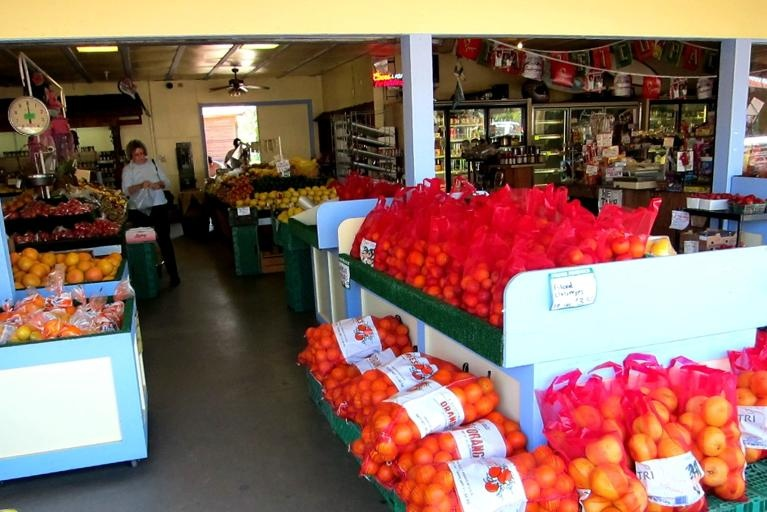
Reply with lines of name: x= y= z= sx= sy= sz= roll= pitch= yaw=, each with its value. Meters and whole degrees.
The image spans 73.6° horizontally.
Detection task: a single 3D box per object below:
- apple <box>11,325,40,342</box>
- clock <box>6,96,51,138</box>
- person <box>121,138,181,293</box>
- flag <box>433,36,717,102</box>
apple: x=-2.252 y=0.486 z=3.246 sx=0.147 sy=0.084 sz=0.102 roll=-12 pitch=16 yaw=-30
clock: x=-4.041 y=-1.572 z=5.845 sx=0.457 sy=0.439 sz=0.447 roll=0 pitch=11 yaw=-3
person: x=-3.265 y=-0.615 z=7.214 sx=0.569 sy=2.010 sz=0.847 roll=-11 pitch=15 yaw=-25
flag: x=3.148 y=-3.235 z=8.863 sx=2.467 sy=0.549 sz=2.269 roll=-9 pitch=17 yaw=-30
